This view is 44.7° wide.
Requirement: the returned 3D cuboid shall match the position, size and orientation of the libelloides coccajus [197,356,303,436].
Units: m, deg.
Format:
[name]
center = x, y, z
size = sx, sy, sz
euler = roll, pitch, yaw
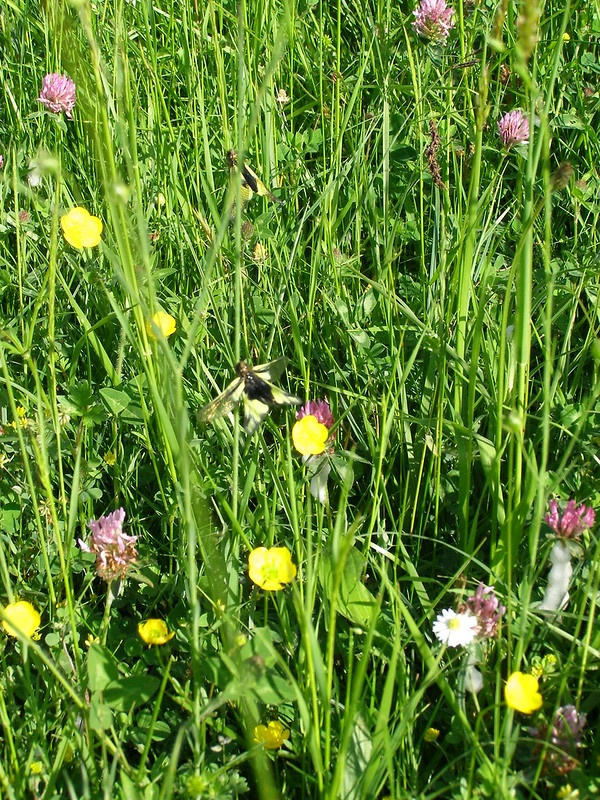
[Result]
[libelloides coccajus]
center = -0.085, -0.011, 1.251
size = 0.118, 0.053, 0.190
euler = 46, 53, 12
